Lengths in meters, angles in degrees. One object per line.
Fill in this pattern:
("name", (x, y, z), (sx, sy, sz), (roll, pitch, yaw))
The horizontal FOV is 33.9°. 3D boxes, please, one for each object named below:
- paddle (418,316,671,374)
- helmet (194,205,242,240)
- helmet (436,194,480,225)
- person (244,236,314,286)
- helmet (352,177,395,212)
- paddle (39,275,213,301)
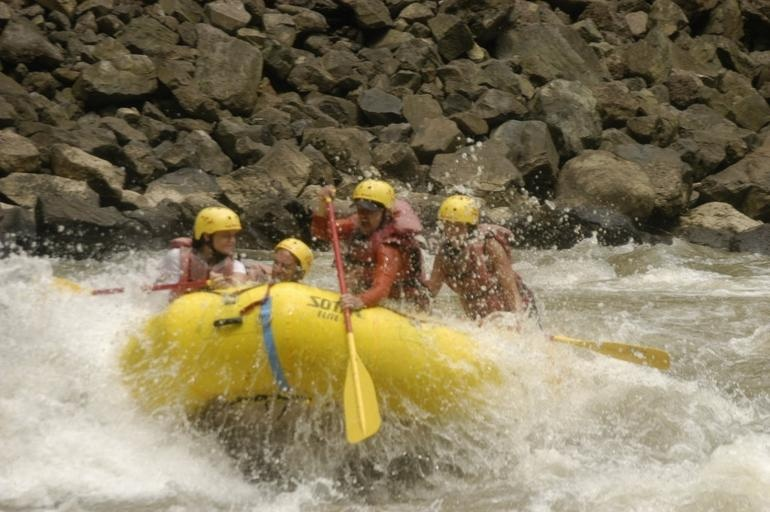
("paddle", (2.510, 1.520, 20.855), (4.111, 0.571, 0.205), (11, 5, 5))
("helmet", (-2.787, -0.540, 20.896), (0.678, 0.495, 0.516), (3, 2, 8))
("helmet", (1.226, -0.732, 21.147), (0.606, 0.459, 0.447), (35, -20, -26))
("person", (-1.792, 0.100, 20.558), (1.026, 0.571, 0.675), (-13, 21, -25))
("helmet", (-0.213, -1.023, 20.964), (0.609, 0.468, 0.468), (2, 16, -28))
("paddle", (-4.234, 0.542, 20.733), (2.866, 0.329, 0.396), (-1, -1, 11))
